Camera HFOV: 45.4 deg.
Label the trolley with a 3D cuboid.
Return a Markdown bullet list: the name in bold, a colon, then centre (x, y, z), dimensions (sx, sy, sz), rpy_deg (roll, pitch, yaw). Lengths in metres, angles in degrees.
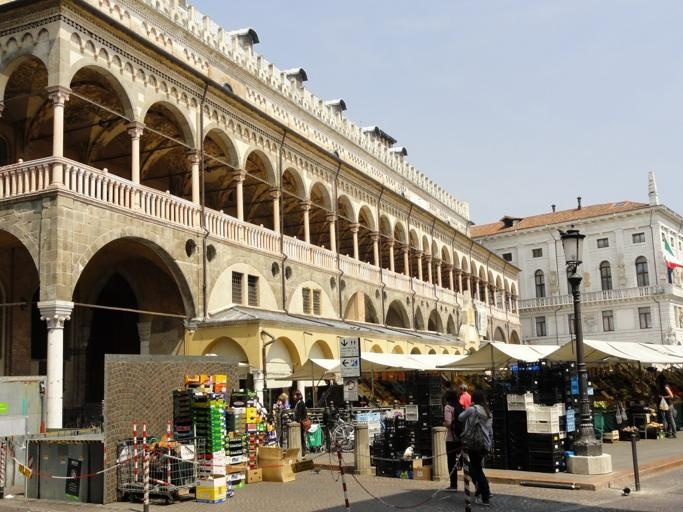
- **trolley**: centre (-4.887, 5.495, 20.873), dimensions (1.981, 1.475, 1.942), rpy_deg (6, -10, -25)

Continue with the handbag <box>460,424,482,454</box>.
- **handbag**: centre (3.085, 4.252, 19.186), dimensions (0.607, 0.762, 0.441), rpy_deg (-3, 1, 29)
